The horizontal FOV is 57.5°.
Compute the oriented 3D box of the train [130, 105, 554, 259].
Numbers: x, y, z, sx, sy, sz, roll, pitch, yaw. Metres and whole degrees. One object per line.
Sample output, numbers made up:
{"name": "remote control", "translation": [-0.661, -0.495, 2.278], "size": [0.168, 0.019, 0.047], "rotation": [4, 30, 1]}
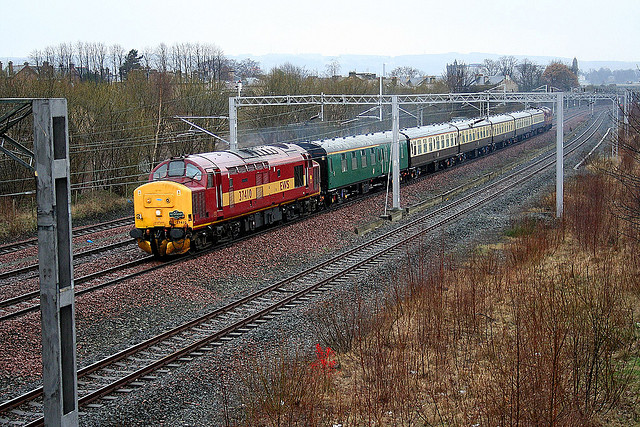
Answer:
{"name": "train", "translation": [12.485, -6.237, 51.992], "size": [2.327, 4.132, 71.454], "rotation": [6, 13, 33]}

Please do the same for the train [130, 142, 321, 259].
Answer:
{"name": "train", "translation": [-3.933, -0.969, 27.576], "size": [2.173, 4.083, 11.625], "rotation": [5, 13, 31]}
